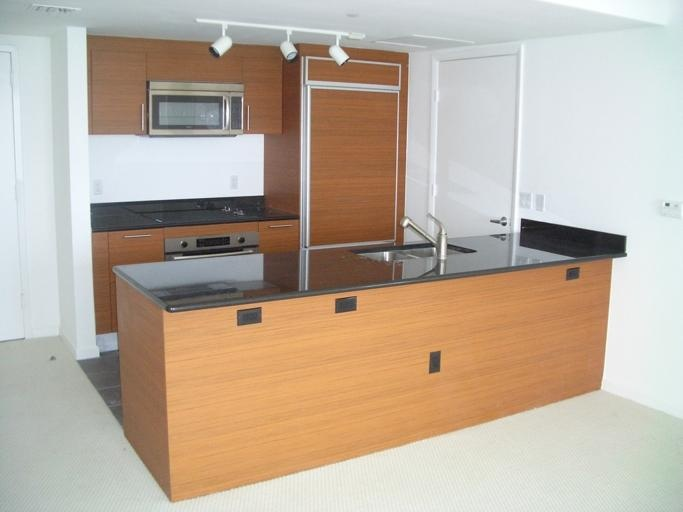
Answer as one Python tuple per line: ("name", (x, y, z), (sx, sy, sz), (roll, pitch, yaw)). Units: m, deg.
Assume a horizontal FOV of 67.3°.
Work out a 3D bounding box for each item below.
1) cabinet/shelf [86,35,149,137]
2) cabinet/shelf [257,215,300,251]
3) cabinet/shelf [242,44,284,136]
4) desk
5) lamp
("cabinet/shelf", (-2.081, -1.610, 4.725), (0.488, 0.828, 0.470), (-1, 39, -30))
("cabinet/shelf", (-0.612, -0.209, 5.092), (0.441, 0.282, 0.334), (-5, 9, -32))
("cabinet/shelf", (-0.751, -1.706, 5.346), (0.654, 0.883, 0.530), (2, 37, -1))
("desk", (0.366, 0.532, 3.829), (3.589, 1.201, 1.309), (-5, 12, -32))
("lamp", (-0.437, -1.669, 4.112), (1.360, 0.362, 1.253), (-4, 13, -14))
